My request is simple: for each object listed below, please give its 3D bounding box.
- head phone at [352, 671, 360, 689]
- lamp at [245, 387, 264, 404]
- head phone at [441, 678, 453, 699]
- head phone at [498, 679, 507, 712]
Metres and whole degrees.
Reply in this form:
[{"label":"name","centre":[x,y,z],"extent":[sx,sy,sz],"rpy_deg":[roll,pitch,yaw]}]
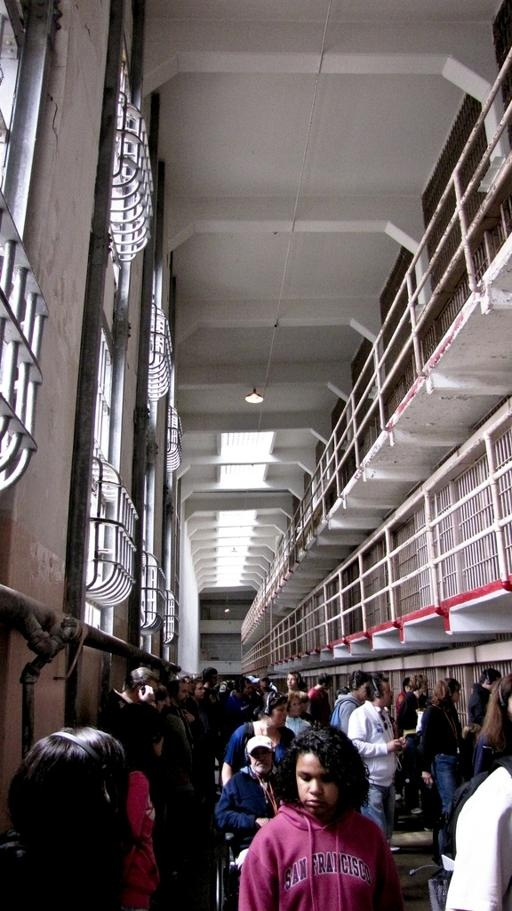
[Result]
[{"label":"head phone","centre":[1.077,2.421,6.106],"extent":[0.070,0.227,0.208],"rpy_deg":[7,-26,8]},{"label":"lamp","centre":[-0.059,-1.990,18.812],"extent":[0.448,0.613,0.546],"rpy_deg":[-1,-36,4]},{"label":"head phone","centre":[2.338,2.827,6.918],"extent":[0.101,0.179,0.162],"rpy_deg":[1,-23,-2]},{"label":"head phone","centre":[1.004,0.980,2.322],"extent":[0.024,0.087,0.065],"rpy_deg":[3,-3,6]}]
